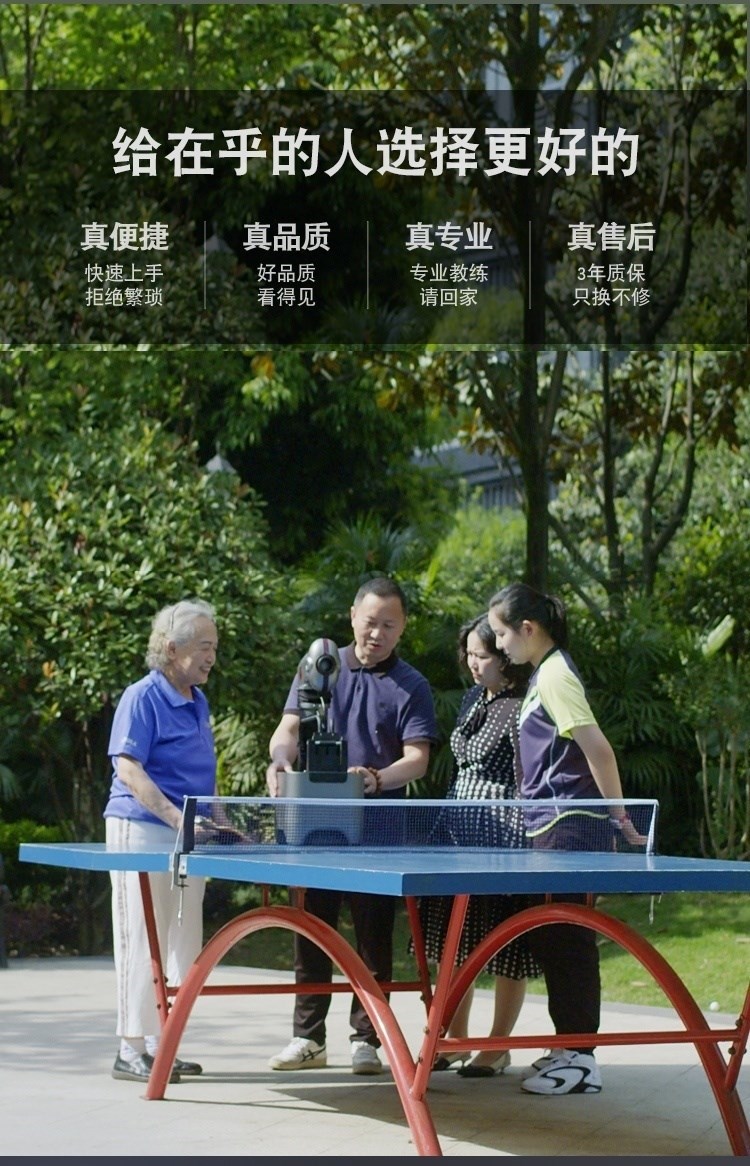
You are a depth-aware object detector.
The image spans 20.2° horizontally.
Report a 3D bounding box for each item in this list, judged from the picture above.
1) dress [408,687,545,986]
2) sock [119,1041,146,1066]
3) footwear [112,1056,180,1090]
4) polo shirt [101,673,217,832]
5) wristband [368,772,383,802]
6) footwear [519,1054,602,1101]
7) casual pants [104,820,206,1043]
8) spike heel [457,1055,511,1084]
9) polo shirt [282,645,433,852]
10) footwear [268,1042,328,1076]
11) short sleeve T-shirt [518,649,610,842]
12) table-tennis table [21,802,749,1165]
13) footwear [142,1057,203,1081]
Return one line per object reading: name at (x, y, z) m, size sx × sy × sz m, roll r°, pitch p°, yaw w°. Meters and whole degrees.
dress at (0.355, 0.827, 6.828) m, size 0.386 × 0.856 × 0.228 m, roll -2°, pitch -9°, yaw 42°
sock at (-0.757, 1.459, 6.581) m, size 0.068 × 0.081 × 0.074 m, roll -6°, pitch -11°, yaw 27°
footwear at (-0.705, 1.508, 6.537) m, size 0.189 × 0.096 × 0.092 m, roll -6°, pitch -10°, yaw 32°
polo shirt at (-0.634, 0.543, 6.765) m, size 0.257 × 0.471 × 0.421 m, roll -10°, pitch -9°, yaw 39°
wristband at (0.011, 0.627, 6.525) m, size 0.025 × 0.077 × 0.056 m, roll -4°, pitch -3°, yaw 5°
footwear at (0.543, 1.506, 6.422) m, size 0.288 × 0.154 × 0.109 m, roll 1°, pitch -10°, yaw -3°
casual pants at (-0.811, 1.124, 6.719) m, size 0.504 × 0.607 × 0.554 m, roll 0°, pitch -9°, yaw -11°
spike heel at (0.367, 1.576, 6.834) m, size 0.070 × 0.063 × 0.133 m, roll -19°, pitch -27°, yaw 37°
polo shirt at (-0.049, 0.500, 6.371) m, size 0.458 × 0.756 × 0.265 m, roll 1°, pitch -8°, yaw -8°
footwear at (-0.241, 1.539, 6.850) m, size 0.208 × 0.109 × 0.080 m, roll 11°, pitch -16°, yaw -29°
short sleeve T-shirt at (0.565, 0.501, 6.364) m, size 0.220 × 0.583 × 0.403 m, roll 3°, pitch -16°, yaw -3°
table-tennis table at (0.132, 1.061, 5.762) m, size 1.301 × 1.030 × 1.780 m, roll -4°, pitch 3°, yaw -40°
footwear at (-0.640, 1.528, 6.650) m, size 0.202 × 0.097 × 0.074 m, roll 1°, pitch -4°, yaw -12°
